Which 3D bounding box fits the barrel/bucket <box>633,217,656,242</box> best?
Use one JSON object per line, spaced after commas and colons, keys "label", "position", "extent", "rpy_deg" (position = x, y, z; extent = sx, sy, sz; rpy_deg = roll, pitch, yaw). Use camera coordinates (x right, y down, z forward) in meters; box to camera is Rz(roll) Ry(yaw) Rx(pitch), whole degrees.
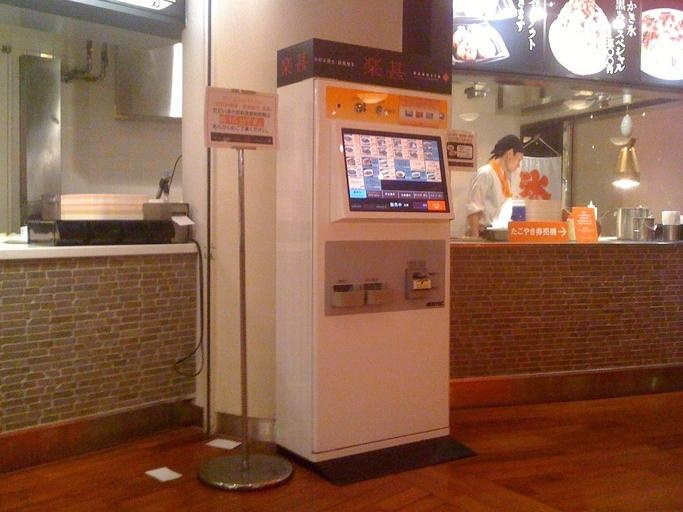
{"label": "barrel/bucket", "position": [2.820, -0.250, 5.367], "extent": [0.210, 0.235, 0.210], "rpy_deg": [2, -1, 0]}

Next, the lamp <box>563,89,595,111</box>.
{"label": "lamp", "position": [2.742, -1.775, 6.462], "extent": [0.355, 0.147, 0.590], "rpy_deg": [3, 8, 22]}

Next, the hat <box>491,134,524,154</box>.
{"label": "hat", "position": [1.675, -1.134, 5.685], "extent": [0.242, 0.189, 0.190], "rpy_deg": [-9, 13, -1]}

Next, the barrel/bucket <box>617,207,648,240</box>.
{"label": "barrel/bucket", "position": [2.814, -0.289, 5.462], "extent": [0.315, 0.353, 0.318], "rpy_deg": [2, -1, 0]}

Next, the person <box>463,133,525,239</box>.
{"label": "person", "position": [1.476, -0.702, 5.582], "extent": [0.459, 1.012, 1.069], "rpy_deg": [4, 7, 29]}

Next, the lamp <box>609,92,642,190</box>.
{"label": "lamp", "position": [3.264, -1.254, 6.455], "extent": [0.323, 0.978, 0.492], "rpy_deg": [4, 7, 27]}
